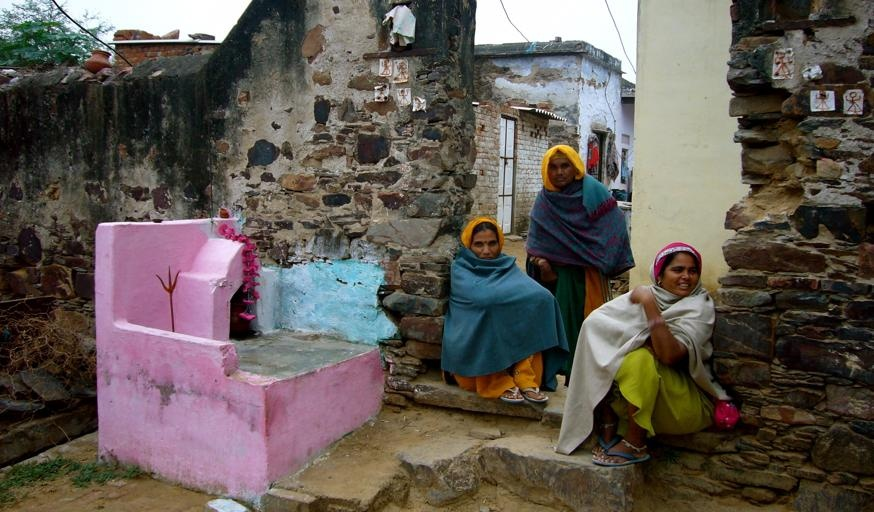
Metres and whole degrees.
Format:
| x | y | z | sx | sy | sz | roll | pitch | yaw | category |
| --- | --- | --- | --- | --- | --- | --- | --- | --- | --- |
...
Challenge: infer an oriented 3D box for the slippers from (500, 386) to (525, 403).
| x | y | z | sx | sy | sz | roll | pitch | yaw | category |
| --- | --- | --- | --- | --- | --- | --- | --- | --- | --- |
| 0.631 | 1.150 | 5.106 | 0.110 | 0.064 | 0.179 | 2 | -5 | -34 | slippers |

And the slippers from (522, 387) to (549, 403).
| x | y | z | sx | sy | sz | roll | pitch | yaw | category |
| --- | --- | --- | --- | --- | --- | --- | --- | --- | --- |
| 0.826 | 1.150 | 5.131 | 0.203 | 0.067 | 0.108 | 1 | 3 | 39 | slippers |

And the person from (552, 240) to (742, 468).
| x | y | z | sx | sy | sz | roll | pitch | yaw | category |
| --- | --- | --- | --- | --- | --- | --- | --- | --- | --- |
| 1.537 | 0.716 | 4.575 | 1.218 | 1.599 | 0.456 | -1 | 6 | -11 | person |

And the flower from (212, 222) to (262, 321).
| x | y | z | sx | sy | sz | roll | pitch | yaw | category |
| --- | --- | --- | --- | --- | --- | --- | --- | --- | --- |
| -1.823 | 0.149 | 5.780 | 0.255 | 0.921 | 0.460 | -5 | 8 | -40 | flower |

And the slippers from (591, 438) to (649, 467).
| x | y | z | sx | sy | sz | roll | pitch | yaw | category |
| --- | --- | --- | --- | --- | --- | --- | --- | --- | --- |
| 1.335 | 1.431 | 4.528 | 0.406 | 0.152 | 0.182 | 0 | 0 | 4 | slippers |
